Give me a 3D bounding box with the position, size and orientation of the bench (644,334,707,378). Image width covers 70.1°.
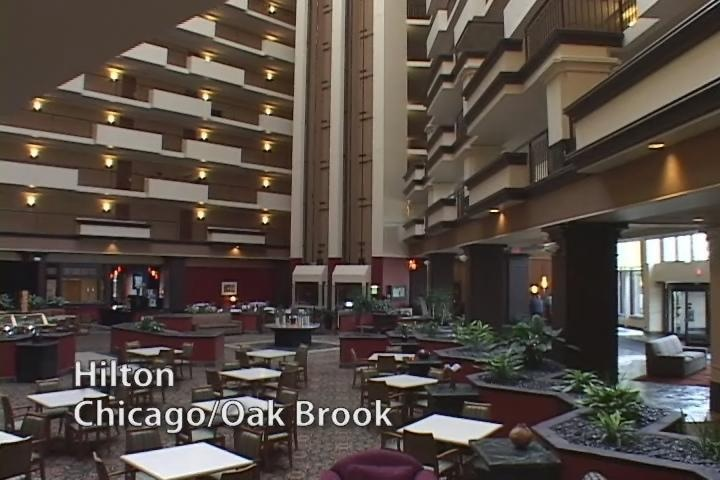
[{"bbox_3d":[10.734,3.971,17.612,2.837,1.284,1.082,5,-11,-39],"label":"bench"}]

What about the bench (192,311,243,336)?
[{"bbox_3d":[-7.336,4.306,26.605,2.547,1.160,1.188,5,-11,-39],"label":"bench"}]

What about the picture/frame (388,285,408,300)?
[{"bbox_3d":[2.335,3.144,31.050,1.200,0.890,0.291,5,-10,-36],"label":"picture/frame"}]
